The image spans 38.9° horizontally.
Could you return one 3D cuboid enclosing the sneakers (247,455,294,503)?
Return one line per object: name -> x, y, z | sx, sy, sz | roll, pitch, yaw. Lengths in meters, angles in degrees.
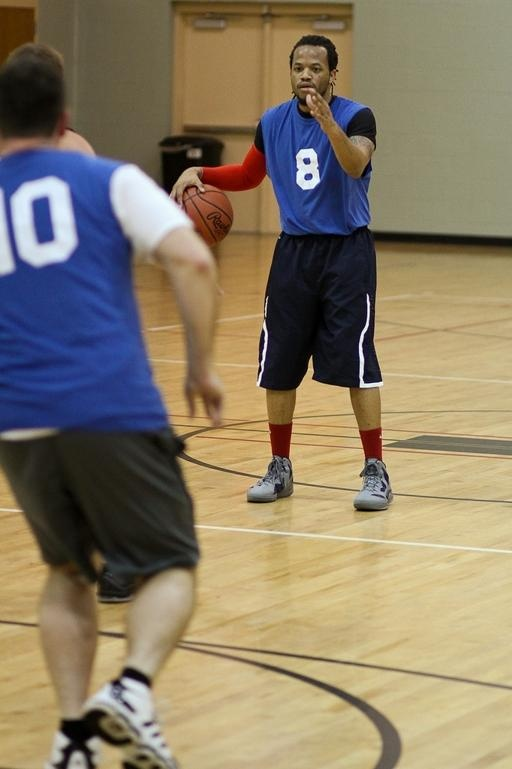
sneakers -> 0.015, 0.405, 2.985 | 0.104, 0.169, 0.269 | -3, -2, 39
